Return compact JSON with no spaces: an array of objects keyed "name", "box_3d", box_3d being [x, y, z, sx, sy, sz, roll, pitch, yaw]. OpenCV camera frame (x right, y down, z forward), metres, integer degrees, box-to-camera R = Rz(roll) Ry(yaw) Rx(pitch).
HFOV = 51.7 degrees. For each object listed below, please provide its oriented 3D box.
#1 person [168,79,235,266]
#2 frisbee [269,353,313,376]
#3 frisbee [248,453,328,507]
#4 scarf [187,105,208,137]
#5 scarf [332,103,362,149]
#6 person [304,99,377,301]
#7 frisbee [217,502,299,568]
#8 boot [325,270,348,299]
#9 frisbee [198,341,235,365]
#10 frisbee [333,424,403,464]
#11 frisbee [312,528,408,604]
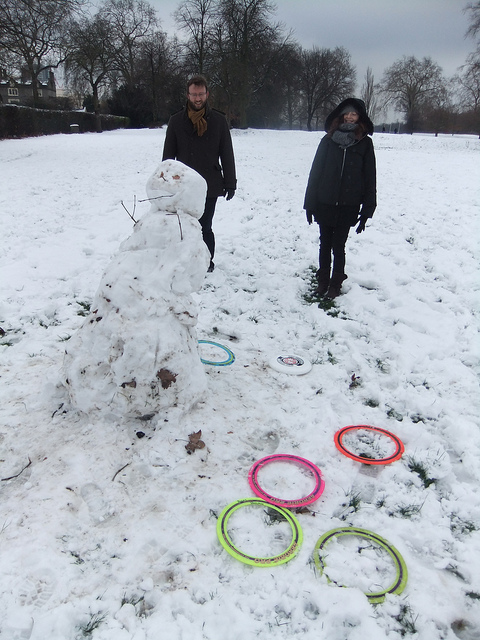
[{"name":"person","box_3d":[-0.397,-1.449,4.962,0.496,1.680,0.549,16,25,36]},{"name":"frisbee","box_3d":[0.396,0.336,3.888,0.352,0.047,0.351,-11,24,-27]},{"name":"frisbee","box_3d":[0.249,0.868,2.695,0.406,0.070,0.389,-3,21,-8]},{"name":"scarf","box_3d":[-0.402,-1.876,4.689,0.153,0.262,0.155,4,21,11]},{"name":"scarf","box_3d":[0.996,-1.787,4.604,0.246,0.342,0.123,19,7,3]},{"name":"person","box_3d":[0.960,-1.116,4.808,0.658,1.881,0.360,5,20,12]},{"name":"frisbee","box_3d":[0.088,1.018,2.374,0.380,0.067,0.389,9,23,21]},{"name":"boot","box_3d":[0.993,-0.383,5.120,0.123,0.270,0.266,14,25,34]},{"name":"frisbee","box_3d":[-0.187,0.256,3.961,0.271,0.038,0.435,-2,21,-7]},{"name":"frisbee","box_3d":[0.778,0.753,3.005,0.400,0.049,0.363,-7,22,-18]},{"name":"frisbee","box_3d":[0.551,1.088,2.257,0.429,0.030,0.437,0,19,-11]}]
